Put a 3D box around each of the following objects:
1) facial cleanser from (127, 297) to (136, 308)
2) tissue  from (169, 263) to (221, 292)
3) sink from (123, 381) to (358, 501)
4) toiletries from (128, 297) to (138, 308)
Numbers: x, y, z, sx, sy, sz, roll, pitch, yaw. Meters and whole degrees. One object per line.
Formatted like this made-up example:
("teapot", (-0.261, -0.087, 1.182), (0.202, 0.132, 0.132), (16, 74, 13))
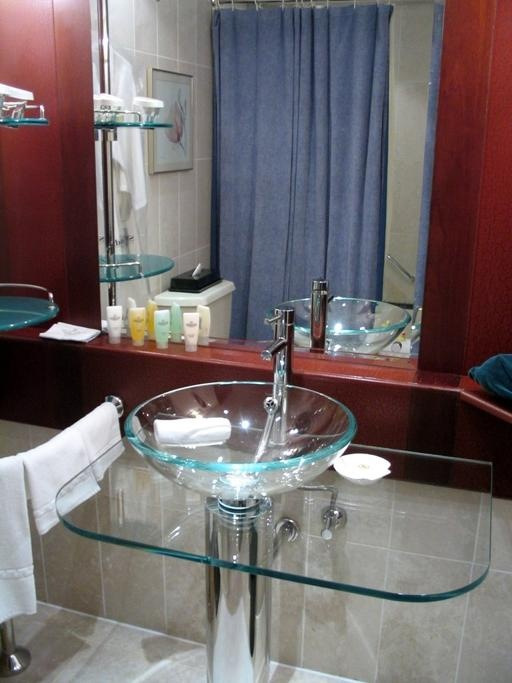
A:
("facial cleanser", (-0.341, -0.108, 1.486), (0.018, 0.034, 0.028), (-4, 5, -42))
("tissue ", (-0.161, -0.163, 1.426), (0.066, 0.035, 0.106), (9, 25, 24))
("sink", (-0.032, 0.179, 0.972), (0.408, 0.125, 0.391), (4, 11, 11))
("toiletries", (-0.335, -0.107, 1.487), (0.021, 0.049, 0.032), (-2, 10, -4))
